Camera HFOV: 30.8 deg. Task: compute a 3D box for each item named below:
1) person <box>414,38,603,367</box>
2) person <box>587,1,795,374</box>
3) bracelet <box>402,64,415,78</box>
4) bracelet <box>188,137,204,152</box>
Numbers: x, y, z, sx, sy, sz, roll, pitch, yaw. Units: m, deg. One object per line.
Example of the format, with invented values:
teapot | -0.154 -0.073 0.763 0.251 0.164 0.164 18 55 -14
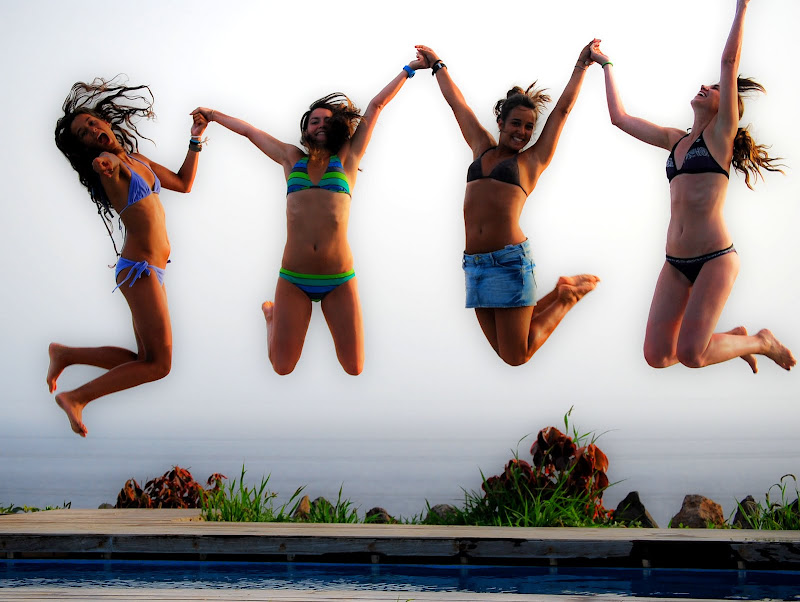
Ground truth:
person | 0.906 -0.804 11.891 1.345 2.653 0.373 1 -4 6
person | 2.389 -0.898 11.662 1.483 2.924 0.723 1 -4 13
bracelet | 0.063 -1.893 11.943 0.087 0.095 0.110 5 -5 -3
bracelet | -1.708 -1.314 12.134 0.118 0.107 0.106 4 17 -8
